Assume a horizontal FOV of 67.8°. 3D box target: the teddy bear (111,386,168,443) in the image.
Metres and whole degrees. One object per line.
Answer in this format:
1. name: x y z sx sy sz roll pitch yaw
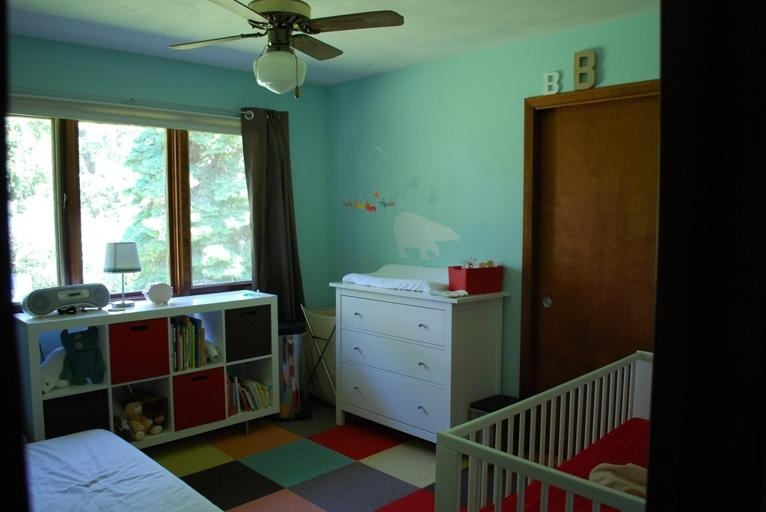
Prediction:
1. teddy bear: -1.359 0.819 3.087 0.288 0.127 0.249 21 17 36

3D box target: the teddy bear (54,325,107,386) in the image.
1. teddy bear: -1.507 0.501 2.834 0.265 0.251 0.095 0 -5 -31

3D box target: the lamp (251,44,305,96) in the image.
1. lamp: -0.419 -0.708 2.268 0.229 0.183 0.210 -2 4 -17

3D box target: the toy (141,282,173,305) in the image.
1. toy: -1.314 0.211 3.281 0.146 0.131 0.149 4 8 -26

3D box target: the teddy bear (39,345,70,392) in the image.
1. teddy bear: -1.579 0.545 2.721 0.070 0.180 0.115 -10 -36 18

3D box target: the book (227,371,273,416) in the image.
1. book: -0.845 0.860 3.536 0.198 0.085 0.271 0 -1 39
